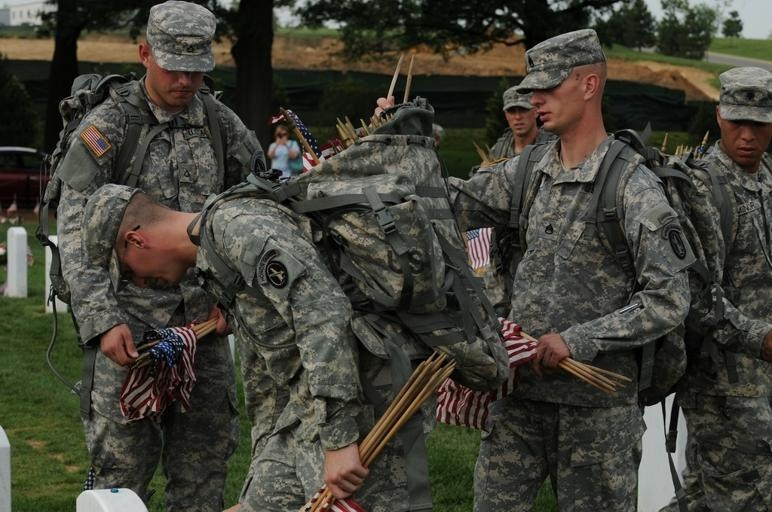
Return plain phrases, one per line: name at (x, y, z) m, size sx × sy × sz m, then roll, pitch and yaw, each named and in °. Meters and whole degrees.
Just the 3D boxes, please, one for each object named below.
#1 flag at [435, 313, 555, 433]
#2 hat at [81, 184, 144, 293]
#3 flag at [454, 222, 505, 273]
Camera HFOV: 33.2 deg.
flag at (0.885, 1.031, 11.361) m, size 0.805 × 1.045 × 0.316 m, roll 13°, pitch 0°, yaw 17°
hat at (-2.440, -0.158, 11.245) m, size 0.466 × 0.871 × 0.688 m, roll 0°, pitch 11°, yaw -3°
flag at (0.889, -0.103, 12.110) m, size 0.379 × 0.470 × 0.172 m, roll -2°, pitch -4°, yaw 10°
